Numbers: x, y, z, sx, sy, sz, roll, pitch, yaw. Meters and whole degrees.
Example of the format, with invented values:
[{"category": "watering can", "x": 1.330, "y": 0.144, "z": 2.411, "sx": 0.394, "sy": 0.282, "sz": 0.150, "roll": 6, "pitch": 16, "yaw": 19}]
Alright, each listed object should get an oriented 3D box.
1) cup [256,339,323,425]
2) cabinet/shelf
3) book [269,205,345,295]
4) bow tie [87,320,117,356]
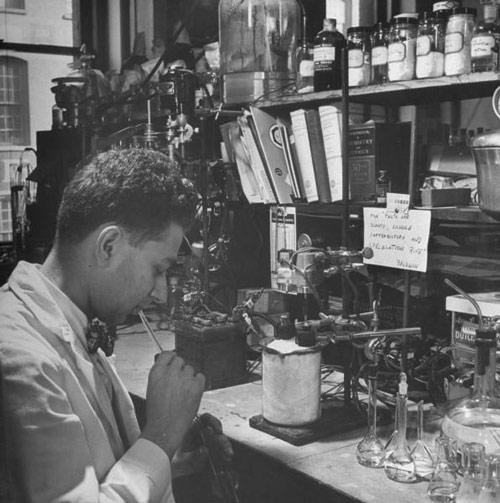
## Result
[{"category": "cup", "x": 0.102, "y": 0.347, "z": 2.343, "sx": 0.167, "sy": 0.210, "sz": 0.193, "roll": 0, "pitch": -2, "yaw": -2}, {"category": "cabinet/shelf", "x": 0.395, "y": -0.289, "z": 2.504, "sx": 0.483, "sy": 0.350, "sz": 0.912, "roll": -4, "pitch": 4, "yaw": -40}, {"category": "book", "x": 0.164, "y": -0.032, "z": 2.846, "sx": 0.253, "sy": 0.429, "sz": 0.199, "roll": -1, "pitch": 2, "yaw": -26}, {"category": "bow tie", "x": -0.332, "y": 0.191, "z": 1.938, "sx": 0.070, "sy": 0.083, "sz": 0.033, "roll": 6, "pitch": 11, "yaw": 1}]
